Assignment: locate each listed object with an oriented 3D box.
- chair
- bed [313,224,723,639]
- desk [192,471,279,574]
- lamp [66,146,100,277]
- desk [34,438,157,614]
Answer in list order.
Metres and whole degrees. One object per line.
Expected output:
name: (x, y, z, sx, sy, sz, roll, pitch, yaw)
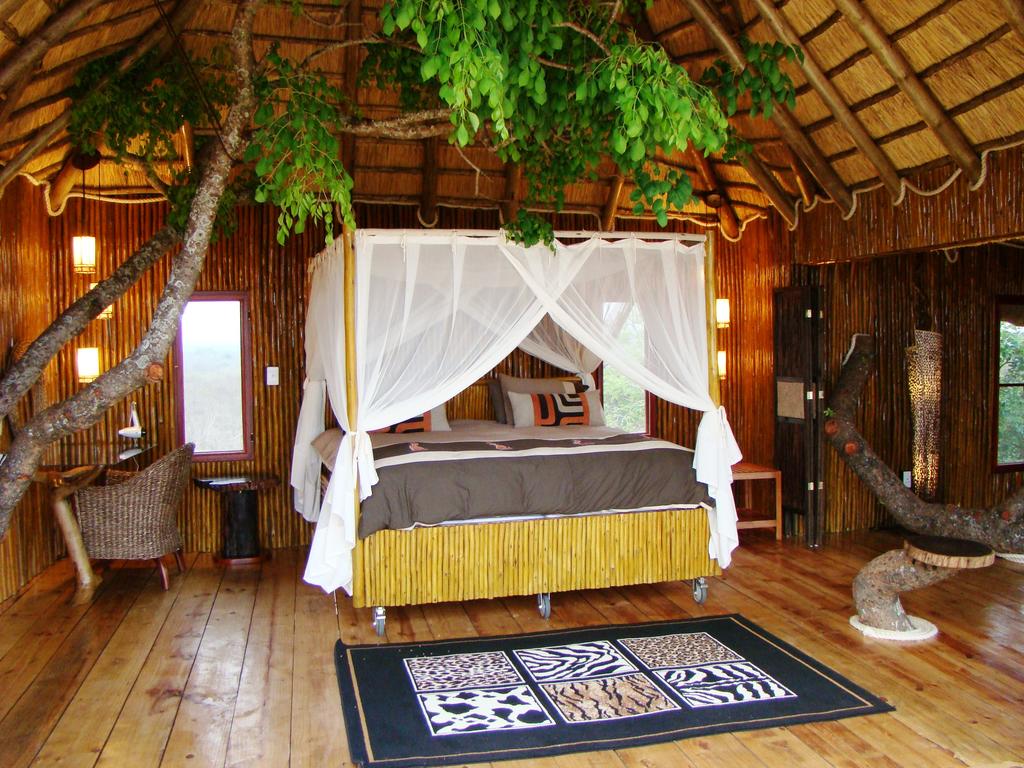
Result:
chair: (-2.940, 0.946, 6.677, 0.880, 1.376, 1.048, 2, 0, -4)
bed: (-0.266, 0.110, 6.726, 2.572, 2.399, 2.677, -1, 2, -18)
desk: (-2.293, 1.159, 7.144, 0.702, 0.768, 0.754, 1, 3, 21)
lamp: (-3.522, -1.426, 6.845, 0.249, 0.999, 0.802, -4, 7, -28)
desk: (-3.243, 1.050, 6.471, 0.598, 1.012, 1.140, -1, 7, -6)
